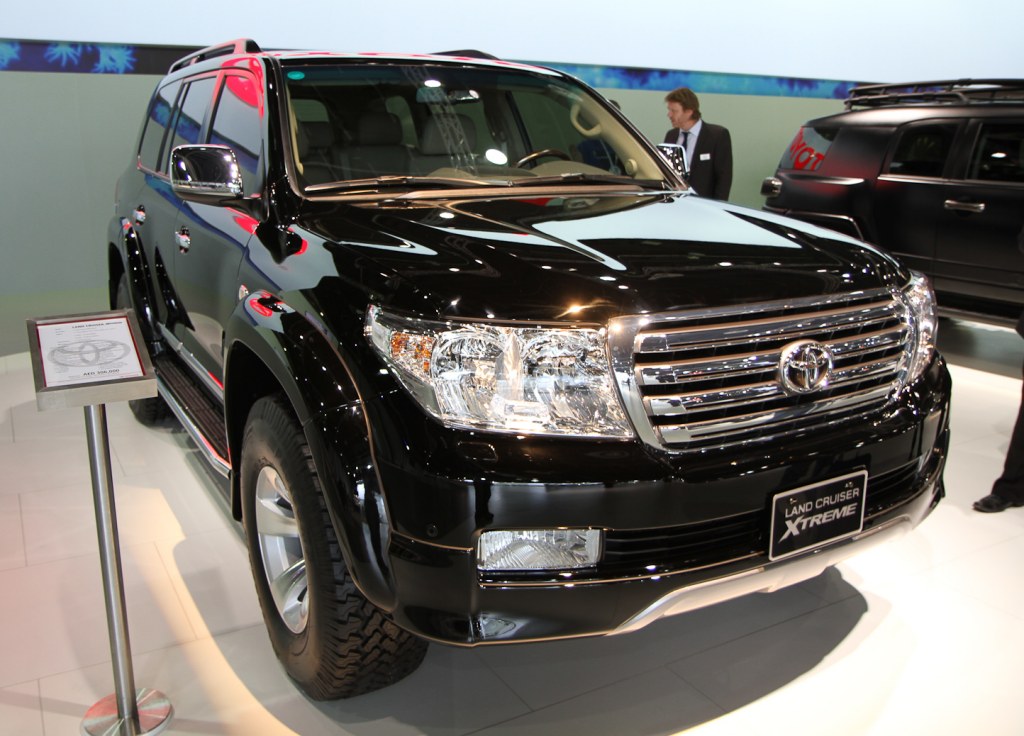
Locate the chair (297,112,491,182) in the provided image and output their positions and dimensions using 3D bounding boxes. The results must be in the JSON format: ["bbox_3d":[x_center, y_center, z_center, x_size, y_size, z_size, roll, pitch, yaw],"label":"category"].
[{"bbox_3d":[-0.467,-0.824,2.564,0.517,0.178,0.148,-8,32,-27],"label":"chair"}]

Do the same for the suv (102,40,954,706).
[{"bbox_3d":[-0.351,-0.435,2.828,2.157,1.350,3.284,-6,13,-31],"label":"suv"}]
